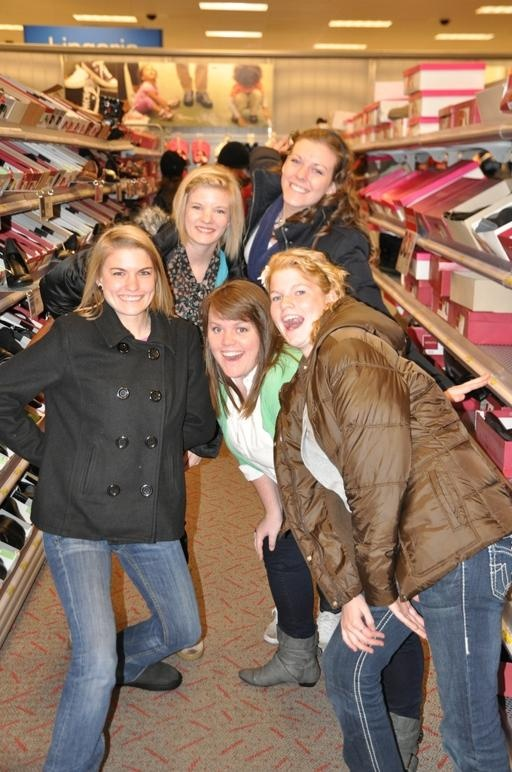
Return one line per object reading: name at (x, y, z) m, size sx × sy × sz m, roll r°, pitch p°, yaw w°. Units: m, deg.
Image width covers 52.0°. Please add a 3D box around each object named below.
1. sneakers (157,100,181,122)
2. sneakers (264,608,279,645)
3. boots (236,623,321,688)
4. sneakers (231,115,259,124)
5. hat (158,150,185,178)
sneakers at (-1.237, -3.915, 7.502) m, size 0.294 × 0.209 × 0.098 m, roll -15°, pitch 41°, yaw 42°
sneakers at (0.067, 1.014, 2.280) m, size 0.070 × 0.079 × 0.203 m, roll 2°, pitch 15°, yaw 1°
boots at (0.043, 0.997, 2.033) m, size 0.399 × 0.288 × 0.152 m, roll 1°, pitch 6°, yaw 4°
sneakers at (-0.136, -3.783, 7.548) m, size 0.417 × 0.137 × 0.183 m, roll -1°, pitch 10°, yaw 5°
hat at (-0.870, -2.282, 5.442) m, size 0.335 × 0.327 × 0.245 m, roll -2°, pitch 25°, yaw -9°
